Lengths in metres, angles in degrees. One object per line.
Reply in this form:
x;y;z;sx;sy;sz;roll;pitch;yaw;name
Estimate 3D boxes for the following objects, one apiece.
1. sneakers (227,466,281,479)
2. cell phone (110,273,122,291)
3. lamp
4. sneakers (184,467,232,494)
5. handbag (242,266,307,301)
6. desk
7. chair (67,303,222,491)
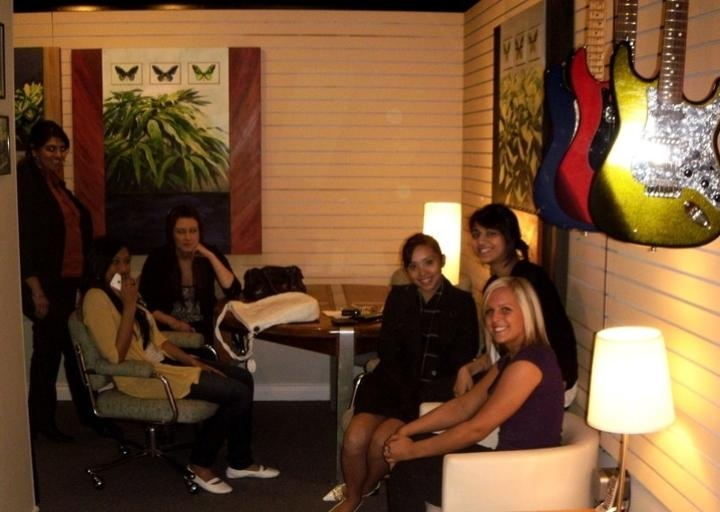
-0.754;1.504;4.137;0.352;0.101;0.129;-1;-1;-9;sneakers
-1.596;0.161;3.821;0.010;0.100;0.058;14;59;40;cell phone
1.084;0.690;2.386;0.323;0.782;0.289;3;9;15;lamp
-1.023;1.515;3.929;0.277;0.083;0.135;13;1;20;sneakers
-0.680;0.195;4.698;0.432;0.277;0.158;-5;-6;-21;handbag
-0.148;0.756;4.624;1.275;0.801;1.303;6;19;17;desk
-1.477;0.944;4.052;0.904;1.072;0.817;1;-3;1;chair
